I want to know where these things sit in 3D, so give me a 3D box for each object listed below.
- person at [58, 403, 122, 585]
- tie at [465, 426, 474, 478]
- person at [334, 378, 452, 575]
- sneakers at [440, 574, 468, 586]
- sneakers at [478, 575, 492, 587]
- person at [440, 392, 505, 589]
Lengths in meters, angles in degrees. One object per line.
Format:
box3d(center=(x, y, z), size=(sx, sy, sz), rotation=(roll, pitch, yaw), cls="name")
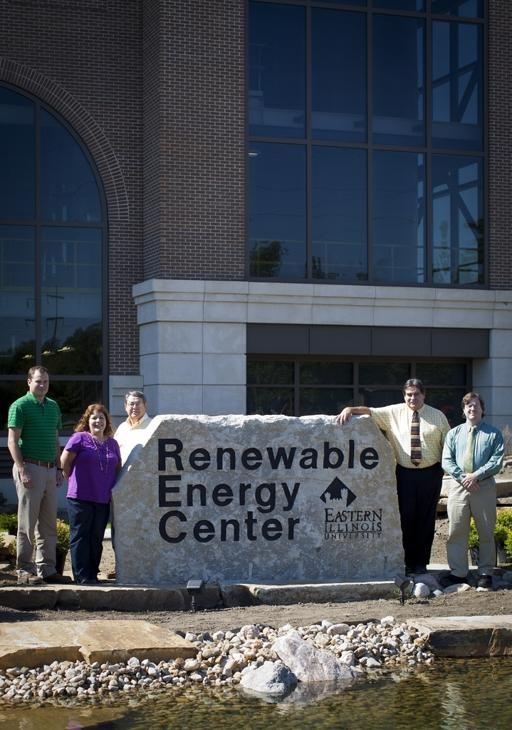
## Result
box3d(center=(-1.576, 1.244, 13.905), size=(0.571, 1.704, 0.411), rotation=(-2, 2, -17), cls="person")
box3d(center=(2.159, 0.842, 14.420), size=(0.089, 0.459, 0.119), rotation=(0, 2, 42), cls="tie")
box3d(center=(1.617, 1.136, 14.653), size=(0.718, 1.955, 0.291), rotation=(-1, 2, 10), cls="person")
box3d(center=(1.988, 2.142, 14.366), size=(0.270, 0.108, 0.399), rotation=(-1, 1, 9), cls="sneakers")
box3d(center=(2.298, 2.163, 14.335), size=(0.103, 0.102, 0.108), rotation=(-6, 10, -32), cls="sneakers")
box3d(center=(2.175, 1.241, 14.441), size=(0.642, 1.912, 0.594), rotation=(-1, 2, 7), cls="person")
